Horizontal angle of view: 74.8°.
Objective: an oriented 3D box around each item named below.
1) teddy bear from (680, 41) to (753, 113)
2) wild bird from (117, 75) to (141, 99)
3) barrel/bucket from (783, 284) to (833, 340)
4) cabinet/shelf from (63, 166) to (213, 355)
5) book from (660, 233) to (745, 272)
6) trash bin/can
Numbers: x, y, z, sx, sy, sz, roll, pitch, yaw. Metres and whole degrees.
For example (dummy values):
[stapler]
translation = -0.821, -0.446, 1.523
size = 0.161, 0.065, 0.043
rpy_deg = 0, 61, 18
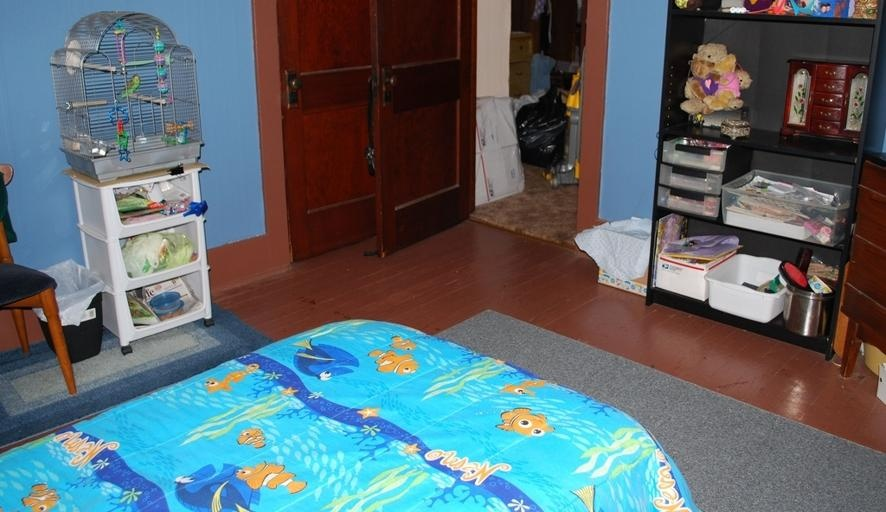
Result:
[teddy bear]
translation = 1.933, -1.278, 4.144
size = 0.181, 0.442, 0.510
rpy_deg = -12, 18, -11
[wild bird]
translation = -2.095, -1.134, 3.880
size = 0.156, 0.163, 0.369
rpy_deg = -13, 28, -24
[barrel/bucket]
translation = 2.433, 0.364, 3.906
size = 0.268, 0.274, 0.269
rpy_deg = 6, 7, -1
[cabinet/shelf]
translation = -2.071, -0.046, 4.015
size = 0.721, 1.079, 0.710
rpy_deg = -14, 23, -38
[book]
translation = 1.832, -0.030, 4.207
size = 0.357, 0.115, 0.355
rpy_deg = -18, 21, -10
[trash bin/can]
translation = -2.395, 0.369, 3.720
size = 0.446, 0.501, 0.520
rpy_deg = -15, 29, -36
